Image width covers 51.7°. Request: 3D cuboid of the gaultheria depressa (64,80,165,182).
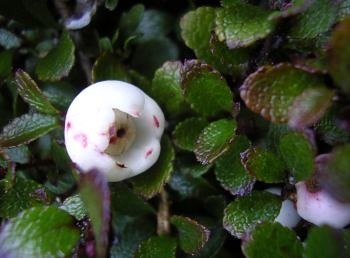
[{"bbox_3d":[-0.097,0.002,0.588,0.160,0.095,0.168,8,93,-35],"label":"gaultheria depressa"}]
